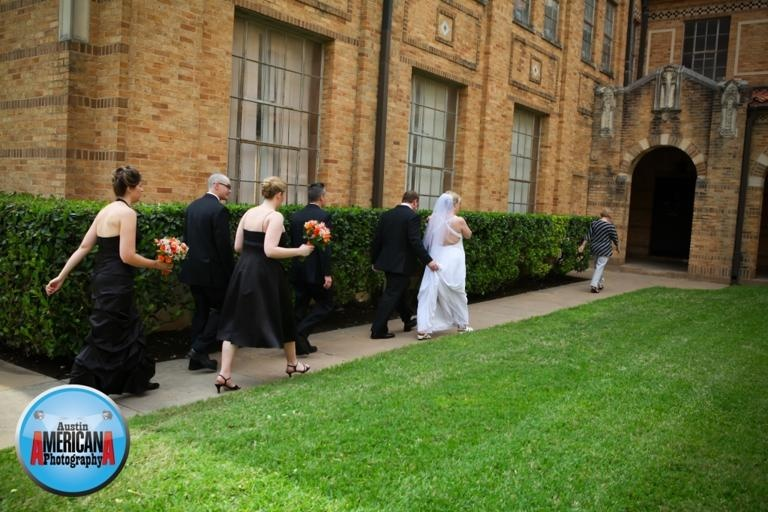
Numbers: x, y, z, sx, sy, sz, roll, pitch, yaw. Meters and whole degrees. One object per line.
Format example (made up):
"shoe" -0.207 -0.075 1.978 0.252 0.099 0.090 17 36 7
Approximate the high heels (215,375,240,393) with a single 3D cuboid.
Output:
"high heels" -2.067 1.670 8.021 0.139 0.236 0.423 3 6 38

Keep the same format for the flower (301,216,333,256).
"flower" -0.976 -0.305 8.703 0.493 0.579 0.519 6 30 -13

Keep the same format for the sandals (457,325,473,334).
"sandals" 1.514 1.342 11.179 0.266 0.099 0.115 -1 3 -30

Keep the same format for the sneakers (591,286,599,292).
"sneakers" 5.583 0.878 16.163 0.156 0.128 0.108 8 -6 -43

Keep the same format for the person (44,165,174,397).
"person" -3.352 0.548 7.687 1.083 2.462 0.568 1 6 -24

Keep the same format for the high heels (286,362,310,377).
"high heels" -1.198 1.573 8.626 0.295 0.137 0.158 -10 6 -23

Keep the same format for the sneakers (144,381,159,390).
"sneakers" -3.019 1.696 8.022 0.058 0.127 0.176 13 18 40
